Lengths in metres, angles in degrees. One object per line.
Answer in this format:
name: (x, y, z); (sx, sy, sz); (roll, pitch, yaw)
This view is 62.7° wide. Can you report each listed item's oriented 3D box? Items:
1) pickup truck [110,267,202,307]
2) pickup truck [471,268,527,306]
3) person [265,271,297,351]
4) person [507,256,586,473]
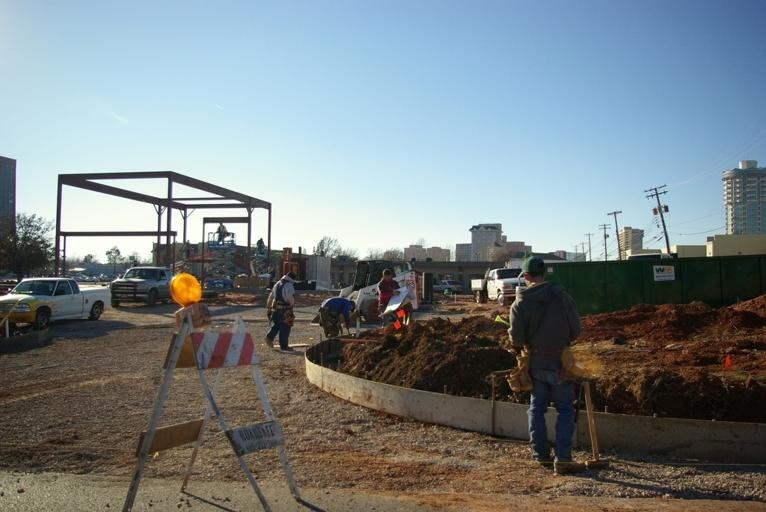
pickup truck: (-10.730, 1.398, 28.990); (2.225, 1.833, 4.174); (1, -2, 13)
pickup truck: (5.628, 1.463, 30.170); (1.814, 1.757, 4.875); (-3, -1, -9)
person: (-2.483, 1.319, 15.069); (0.681, 1.904, 0.949); (-3, 11, -12)
person: (2.283, 1.476, 8.880); (0.978, 2.966, 1.156); (0, -7, -4)
